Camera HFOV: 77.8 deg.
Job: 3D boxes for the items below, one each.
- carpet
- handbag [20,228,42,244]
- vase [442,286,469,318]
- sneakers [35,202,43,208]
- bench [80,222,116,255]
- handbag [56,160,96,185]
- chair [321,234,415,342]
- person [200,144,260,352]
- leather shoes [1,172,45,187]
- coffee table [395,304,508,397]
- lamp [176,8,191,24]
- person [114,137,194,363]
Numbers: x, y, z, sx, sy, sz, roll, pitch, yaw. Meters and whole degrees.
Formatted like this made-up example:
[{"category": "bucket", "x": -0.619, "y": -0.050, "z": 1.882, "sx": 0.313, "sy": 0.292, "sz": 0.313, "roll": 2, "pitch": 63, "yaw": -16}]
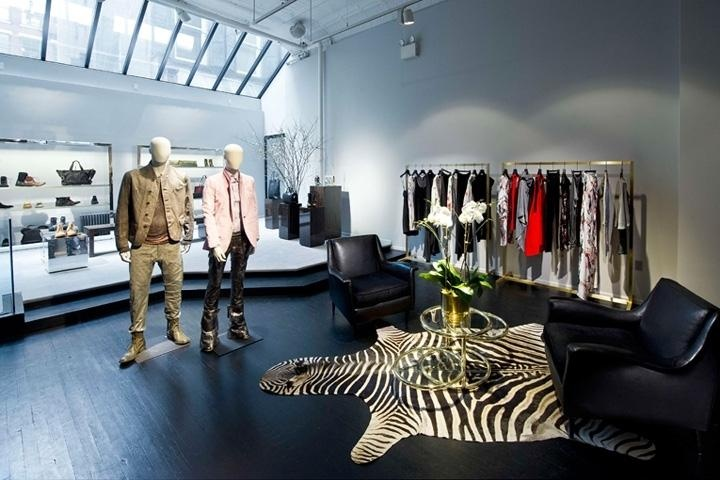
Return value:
[{"category": "carpet", "x": 0.968, "y": 1.626, "z": 4.481, "sx": 3.002, "sy": 0.173, "sz": 1.479, "roll": 2, "pitch": 20, "yaw": 5}, {"category": "handbag", "x": -5.948, "y": -0.067, "z": 8.038, "sx": 0.181, "sy": 0.251, "sz": 0.246, "roll": -4, "pitch": -2, "yaw": 38}, {"category": "vase", "x": 1.014, "y": 0.634, "z": 4.738, "sx": 0.244, "sy": 0.256, "sz": 0.255, "roll": 5, "pitch": 10, "yaw": 34}, {"category": "sneakers", "x": -6.225, "y": -0.673, "z": 8.642, "sx": 0.143, "sy": 0.101, "sz": 0.077, "roll": -9, "pitch": 10, "yaw": -41}, {"category": "bench", "x": -4.813, "y": -0.039, "z": 8.266, "sx": 0.549, "sy": 0.538, "sz": 0.540, "roll": -11, "pitch": 20, "yaw": -44}, {"category": "handbag", "x": -5.712, "y": -1.341, "z": 8.899, "sx": 0.410, "sy": 0.380, "sz": 0.157, "roll": -9, "pitch": 18, "yaw": -34}, {"category": "chair", "x": 0.103, "y": 0.531, "z": 6.227, "sx": 1.090, "sy": 1.367, "sz": 1.206, "roll": -4, "pitch": 6, "yaw": -26}, {"category": "person", "x": -1.590, "y": 0.088, "z": 5.334, "sx": 0.762, "sy": 2.386, "sz": 0.378, "roll": -4, "pitch": 7, "yaw": -21}, {"category": "leather shoes", "x": -6.398, "y": -1.134, "z": 8.429, "sx": 0.683, "sy": 0.273, "sz": 0.113, "roll": -9, "pitch": 10, "yaw": -41}, {"category": "coffee table", "x": 0.971, "y": 1.294, "z": 4.938, "sx": 1.323, "sy": 0.679, "sz": 0.784, "roll": -12, "pitch": 17, "yaw": -28}, {"category": "lamp", "x": -3.231, "y": -4.073, "z": 8.176, "sx": 0.194, "sy": 0.184, "sz": 0.326, "roll": -4, "pitch": 8, "yaw": -15}, {"category": "person", "x": -2.375, "y": 0.117, "z": 5.153, "sx": 0.871, "sy": 2.500, "sz": 0.264, "roll": -5, "pitch": 7, "yaw": -21}]
